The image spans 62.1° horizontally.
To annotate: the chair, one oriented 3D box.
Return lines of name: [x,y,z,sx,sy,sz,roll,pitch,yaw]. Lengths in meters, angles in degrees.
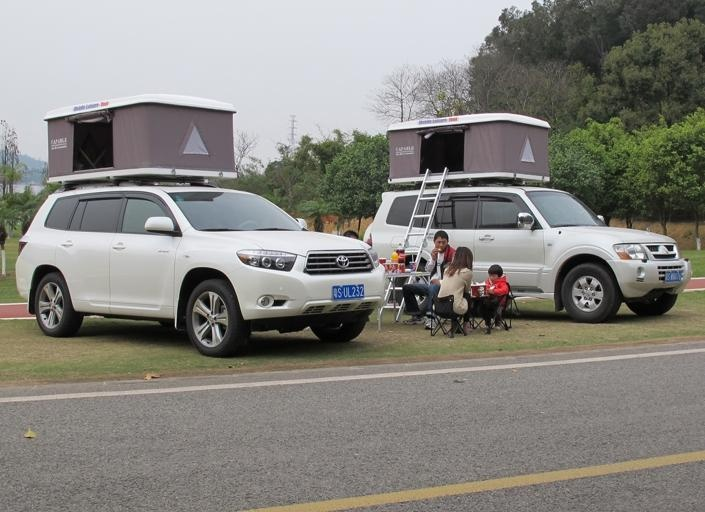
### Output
chair: [1.977,1.048,10.234,1.116,0.517,1.098,-3,3,-34]

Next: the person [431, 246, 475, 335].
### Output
person: [1.672,0.611,9.830,0.660,1.483,0.682,0,0,7]

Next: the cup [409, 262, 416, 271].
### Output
cup: [1.305,0.246,12.206,0.149,0.151,0.265,9,-16,-20]

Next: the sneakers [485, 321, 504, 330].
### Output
sneakers: [2.638,1.273,10.653,0.224,0.078,0.217,0,2,32]

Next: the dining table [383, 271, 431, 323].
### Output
dining table: [0.976,0.775,11.745,0.933,1.148,1.202,0,0,27]

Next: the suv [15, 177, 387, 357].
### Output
suv: [-2.328,0.155,9.143,5.051,2.122,2.696,-1,-2,33]

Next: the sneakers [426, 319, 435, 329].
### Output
sneakers: [1.407,1.253,10.569,0.105,0.140,0.334,-3,-7,8]

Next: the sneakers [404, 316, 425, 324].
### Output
sneakers: [1.204,1.265,11.399,0.433,0.188,0.146,2,-2,-3]
